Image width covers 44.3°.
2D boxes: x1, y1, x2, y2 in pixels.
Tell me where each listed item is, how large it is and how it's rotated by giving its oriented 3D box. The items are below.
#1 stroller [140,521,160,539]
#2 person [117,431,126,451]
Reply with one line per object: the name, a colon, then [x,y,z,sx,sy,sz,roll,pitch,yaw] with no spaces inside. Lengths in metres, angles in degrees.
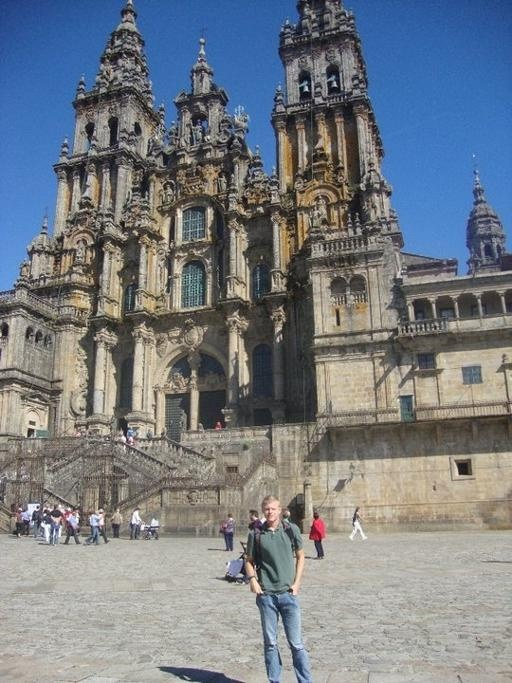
stroller: [-4.230,7.619,25.279,0.628,0.698,0.716,0,-34,3]
person: [-7.417,5.447,34.571,0.343,0.325,1.368,-19,7,-11]
